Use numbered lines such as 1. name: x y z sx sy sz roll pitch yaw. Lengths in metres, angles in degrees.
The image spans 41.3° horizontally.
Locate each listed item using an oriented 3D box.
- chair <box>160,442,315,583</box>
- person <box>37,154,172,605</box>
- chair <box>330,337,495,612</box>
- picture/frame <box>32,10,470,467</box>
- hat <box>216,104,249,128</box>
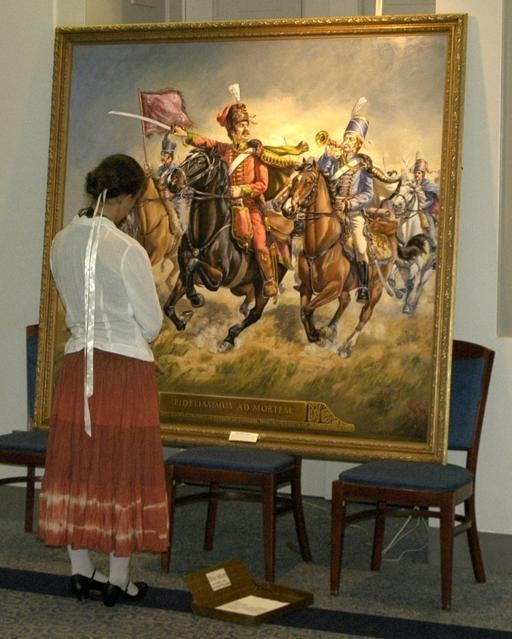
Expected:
1. chair: -0.091 0.842 3.021 0.534 0.471 0.443 -3 -9 21
2. person: -0.499 0.113 2.338 0.445 1.375 0.254 3 -5 -8
3. chair: 0.690 0.606 2.936 0.616 1.048 0.719 1 -5 18
4. picture/frame: 0.069 -0.351 3.080 2.450 2.320 0.111 3 3 22
5. hat: -0.105 -0.988 3.353 0.134 0.071 0.098 -31 0 17
